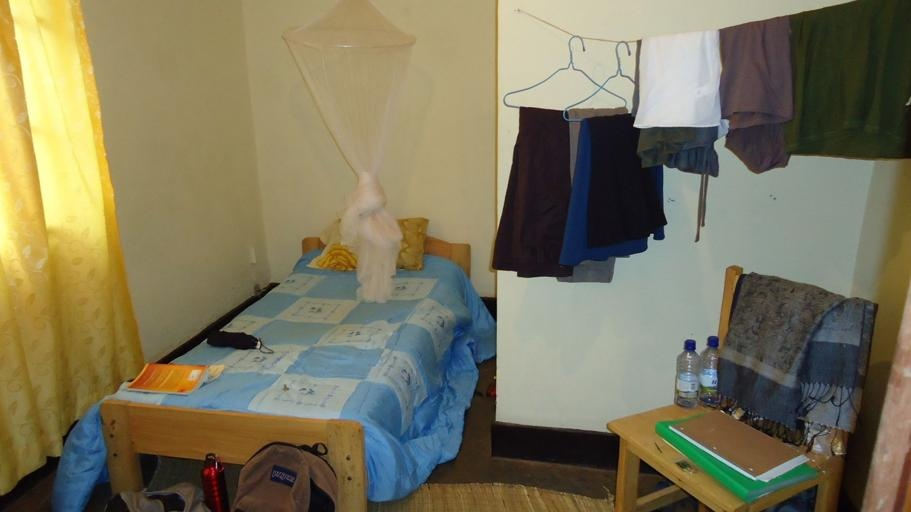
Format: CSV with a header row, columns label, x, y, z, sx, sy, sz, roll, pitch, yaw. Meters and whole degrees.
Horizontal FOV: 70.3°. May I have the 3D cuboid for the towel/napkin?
label,x,y,z,sx,sy,sz,roll,pitch,yaw
towel/napkin,1.184,-0.918,3.390,0.511,0.484,0.072,3,9,19

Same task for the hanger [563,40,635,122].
label,x,y,z,sx,sy,sz,roll,pitch,yaw
hanger,0.839,-1.034,3.735,0.374,0.473,0.294,4,13,10

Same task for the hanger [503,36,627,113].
label,x,y,z,sx,sy,sz,roll,pitch,yaw
hanger,0.680,-1.098,3.857,0.514,0.289,0.018,3,11,1

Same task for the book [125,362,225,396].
label,x,y,z,sx,sy,sz,roll,pitch,yaw
book,-1.799,0.779,4.058,0.284,0.084,0.260,4,18,8
